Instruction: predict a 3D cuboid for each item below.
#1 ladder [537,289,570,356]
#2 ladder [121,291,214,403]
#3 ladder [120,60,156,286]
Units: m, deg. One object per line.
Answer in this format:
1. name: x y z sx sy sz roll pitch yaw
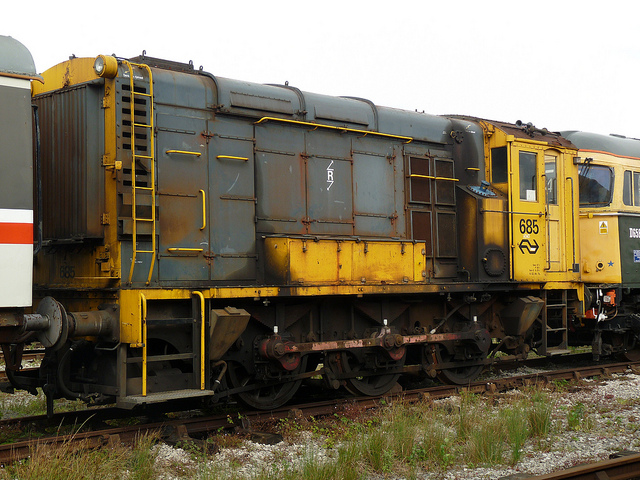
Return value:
1. ladder: 5.122 1.794 13.275 0.634 1.009 1.207 8 5 38
2. ladder: -2.262 1.539 8.924 0.673 1.805 1.524 -2 -3 42
3. ladder: -2.698 -0.994 9.078 0.513 3.298 0.739 2 5 -37
